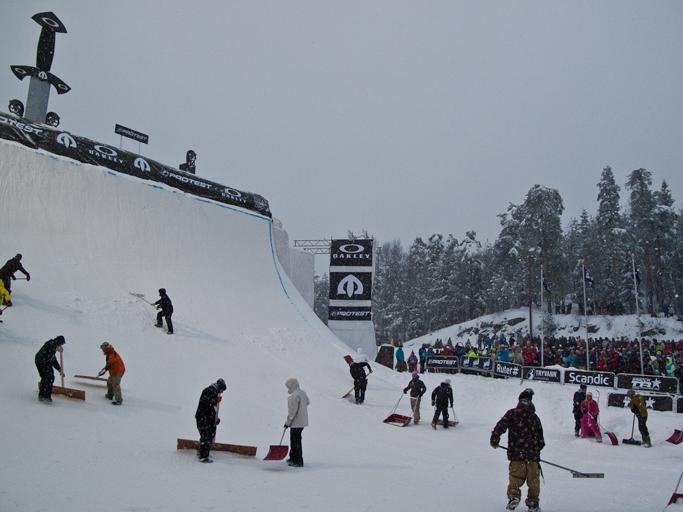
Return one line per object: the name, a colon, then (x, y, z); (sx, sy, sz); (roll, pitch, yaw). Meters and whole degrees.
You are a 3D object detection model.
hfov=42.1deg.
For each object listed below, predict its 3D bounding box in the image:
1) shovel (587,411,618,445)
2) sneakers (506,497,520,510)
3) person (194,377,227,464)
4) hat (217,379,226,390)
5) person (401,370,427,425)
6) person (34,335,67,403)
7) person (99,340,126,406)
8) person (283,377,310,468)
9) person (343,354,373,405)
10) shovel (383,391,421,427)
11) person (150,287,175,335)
shovel: (9.448, 6.273, 32.128); (1.153, 0.857, 0.969); (8, 11, 19)
sneakers: (4.947, 7.184, 25.768); (0.205, 0.531, 0.224); (5, 30, -2)
person: (-4.127, 5.180, 27.810); (0.564, 2.449, 0.808); (11, 12, 40)
hat: (-3.790, 4.083, 28.055); (0.229, 0.320, 0.322); (-4, -4, -5)
person: (2.909, 5.841, 35.922); (1.173, 3.029, 1.069); (-3, -19, 10)
person: (-9.543, 3.652, 28.970); (0.770, 2.222, 0.908); (12, 13, 43)
person: (-7.758, 3.927, 30.075); (0.737, 2.134, 0.891); (0, 10, -17)
person: (-1.447, 5.248, 28.336); (0.733, 2.785, 1.489); (3, 10, -2)
person: (0.645, 5.350, 37.776); (1.266, 1.805, 0.678); (-5, -24, -3)
shovel: (2.203, 6.238, 34.166); (0.813, 1.523, 1.423); (-4, -27, 29)
person: (-7.224, 2.109, 36.075); (0.840, 1.880, 1.488); (1, 10, -13)
